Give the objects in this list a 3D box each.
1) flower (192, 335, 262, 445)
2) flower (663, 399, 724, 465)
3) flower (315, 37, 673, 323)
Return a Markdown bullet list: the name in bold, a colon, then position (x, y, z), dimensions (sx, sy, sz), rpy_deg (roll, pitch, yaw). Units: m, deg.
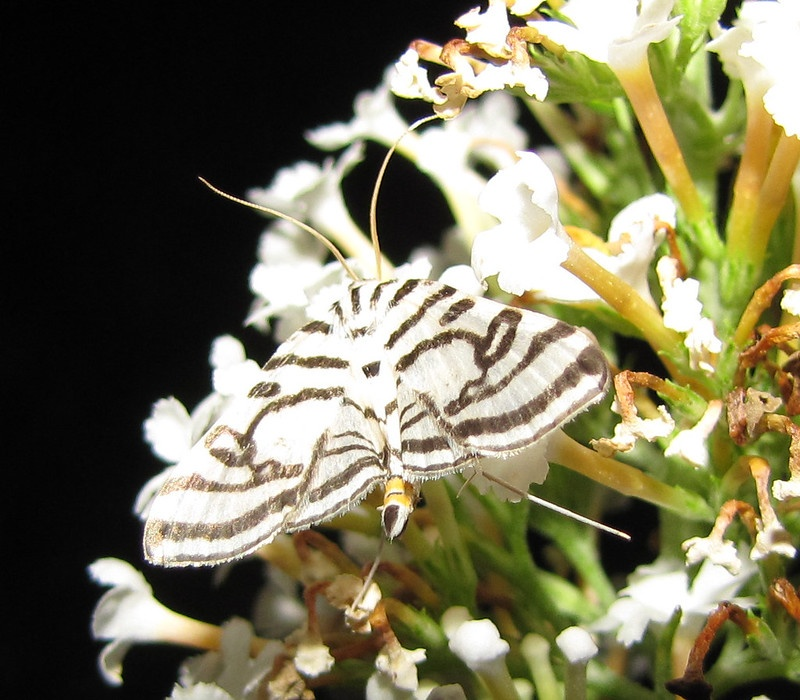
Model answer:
- **flower**: position (-0.291, 0.090, 1.581), dimensions (0.036, 0.118, 0.199), rpy_deg (15, -66, -44)
- **flower**: position (0.397, 0.116, 1.251), dimensions (0.110, 0.050, 0.030), rpy_deg (-43, -50, -32)
- **flower**: position (0.118, -0.218, 1.512), dimensions (0.409, 0.554, 0.222), rpy_deg (-14, -39, -36)
